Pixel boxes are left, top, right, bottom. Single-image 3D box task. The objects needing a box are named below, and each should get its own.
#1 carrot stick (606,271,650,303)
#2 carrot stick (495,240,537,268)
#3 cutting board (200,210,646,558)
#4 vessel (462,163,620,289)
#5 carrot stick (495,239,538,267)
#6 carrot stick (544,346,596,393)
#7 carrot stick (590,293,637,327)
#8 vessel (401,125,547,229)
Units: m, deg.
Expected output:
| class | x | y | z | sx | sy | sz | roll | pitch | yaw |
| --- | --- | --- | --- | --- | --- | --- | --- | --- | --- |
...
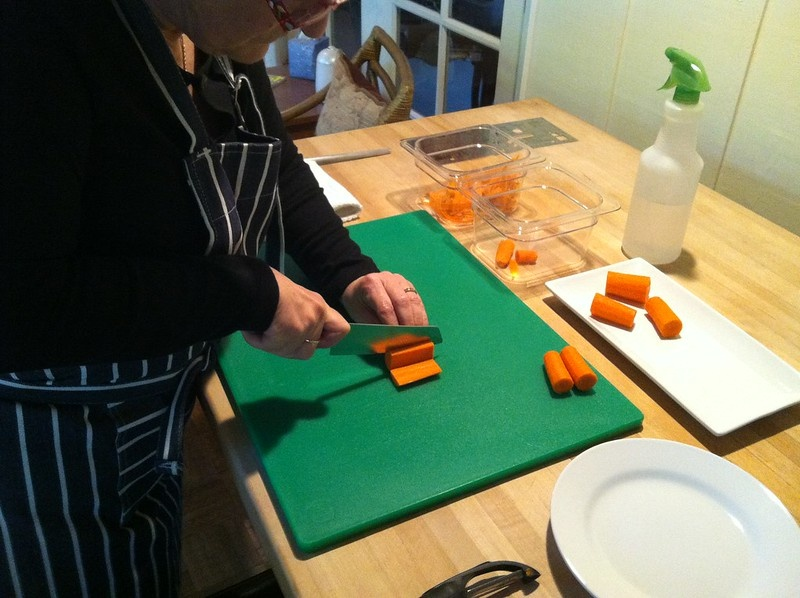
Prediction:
| class | x | y | z | sx | sy | sz | roll | pitch | yaw |
| --- | --- | --- | --- | --- | --- | --- | --- | --- | --- |
| carrot stick | 0.457 | -0.021 | 1.090 | 0.074 | 0.057 | 0.058 | 12 | 62 | 16 |
| carrot stick | 0.263 | -0.100 | 1.239 | 0.082 | 0.031 | 0.062 | 9 | 57 | -1 |
| cutting board | 0.043 | 0.171 | 0.895 | 0.435 | 0.025 | 0.569 | -16 | 39 | -20 |
| vessel | 0.346 | -0.115 | 1.344 | 0.325 | 0.183 | 0.326 | -15 | 39 | -19 |
| carrot stick | 0.264 | -0.099 | 1.233 | 0.083 | 0.032 | 0.060 | 9 | 59 | -1 |
| carrot stick | 0.289 | 0.123 | 0.935 | 0.070 | 0.040 | 0.071 | -10 | 31 | -10 |
| carrot stick | 0.410 | 0.023 | 1.048 | 0.082 | 0.032 | 0.050 | 33 | 95 | 24 |
| vessel | 0.178 | -0.358 | 1.432 | 0.317 | 0.179 | 0.317 | -17 | 40 | -24 |
